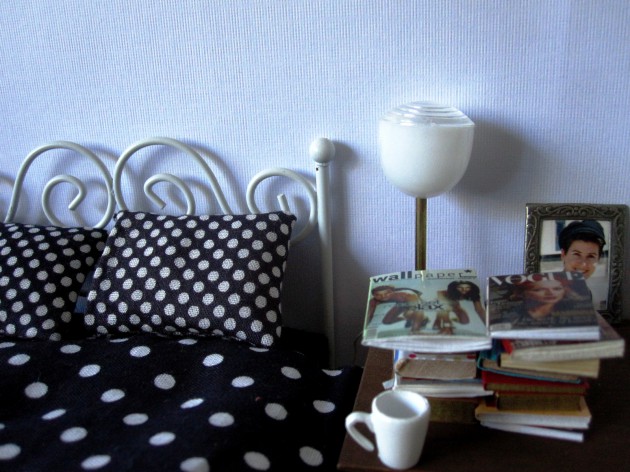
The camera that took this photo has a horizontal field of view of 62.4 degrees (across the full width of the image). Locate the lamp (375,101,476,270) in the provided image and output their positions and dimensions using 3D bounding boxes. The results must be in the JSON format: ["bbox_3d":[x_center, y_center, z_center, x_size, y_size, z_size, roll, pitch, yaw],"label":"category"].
[{"bbox_3d":[0.254,-0.113,1.236,0.181,0.415,0.182,-6,12,-26],"label":"lamp"}]

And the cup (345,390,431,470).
[{"bbox_3d":[0.144,0.358,0.996,0.179,0.124,0.112,-3,29,3],"label":"cup"}]

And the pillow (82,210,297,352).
[{"bbox_3d":[-0.320,0.106,1.290,0.483,0.344,0.127,4,-24,12],"label":"pillow"}]
